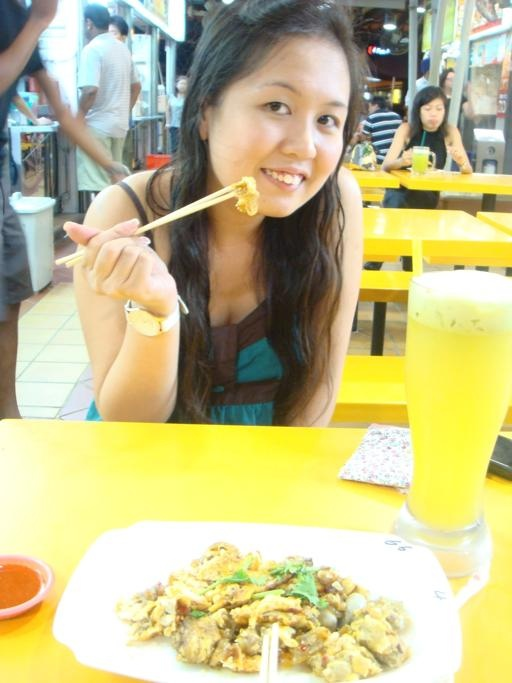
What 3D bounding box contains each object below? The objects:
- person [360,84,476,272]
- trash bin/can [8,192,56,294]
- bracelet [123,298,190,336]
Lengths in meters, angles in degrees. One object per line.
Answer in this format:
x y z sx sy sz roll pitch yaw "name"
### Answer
1.740 -1.643 5.934 0.834 1.880 1.038 13 19 34 "person"
-1.050 -0.472 2.778 0.194 0.553 0.335 1 22 -4 "trash bin/can"
-0.198 -0.048 1.086 0.094 0.070 0.113 12 16 36 "bracelet"
